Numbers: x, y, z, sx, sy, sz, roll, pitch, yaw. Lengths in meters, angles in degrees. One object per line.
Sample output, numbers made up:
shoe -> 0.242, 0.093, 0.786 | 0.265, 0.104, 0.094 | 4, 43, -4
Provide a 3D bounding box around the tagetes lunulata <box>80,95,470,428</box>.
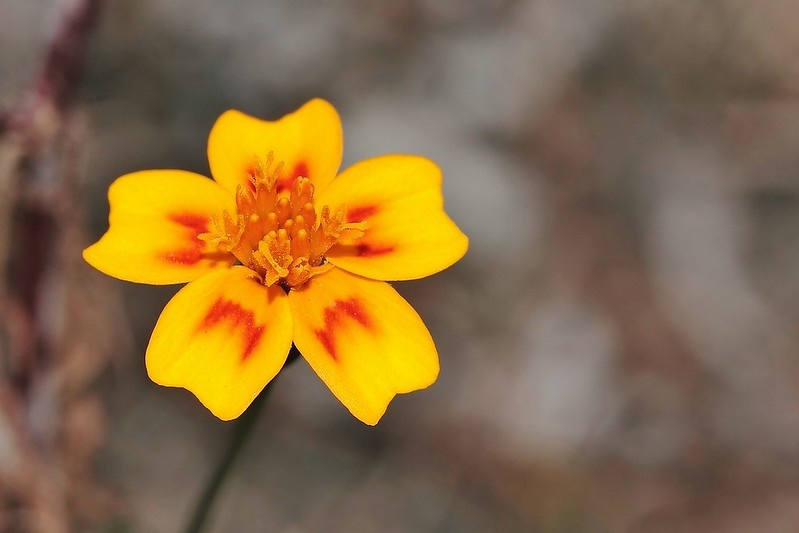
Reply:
tagetes lunulata -> -0.192, -0.025, 1.384 | 0.564, 0.209, 0.647 | -18, -64, 11
